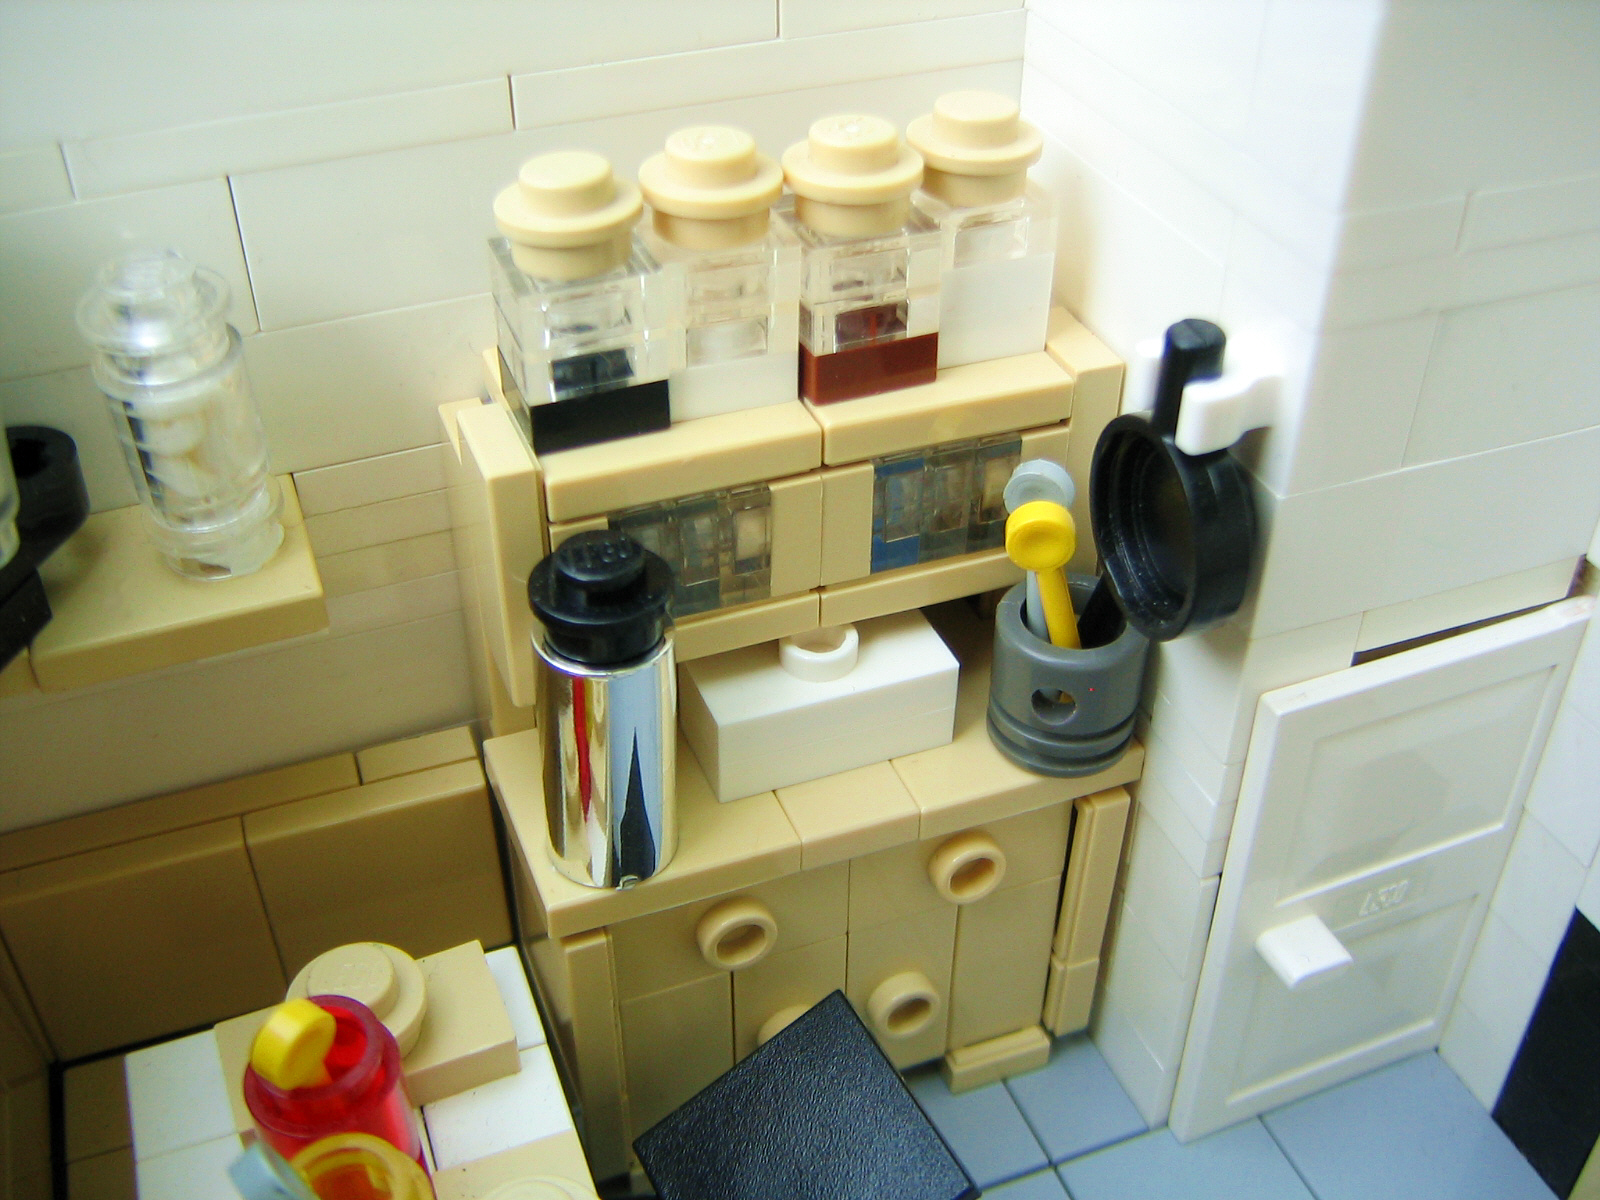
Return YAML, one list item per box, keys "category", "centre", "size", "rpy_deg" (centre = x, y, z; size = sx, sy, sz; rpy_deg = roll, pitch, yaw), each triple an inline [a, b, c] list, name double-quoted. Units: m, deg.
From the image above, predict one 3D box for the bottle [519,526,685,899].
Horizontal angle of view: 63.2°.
- category: "bottle"
  centre: [-0.200, 0.121, 1.352]
  size: [0.169, 0.393, 0.126]
  rpy_deg: [-8, 39, -7]

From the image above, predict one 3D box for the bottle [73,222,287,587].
- category: "bottle"
  centre: [-0.600, -0.179, 1.279]
  size: [0.139, 0.289, 0.143]
  rpy_deg: [-2, 39, 1]
